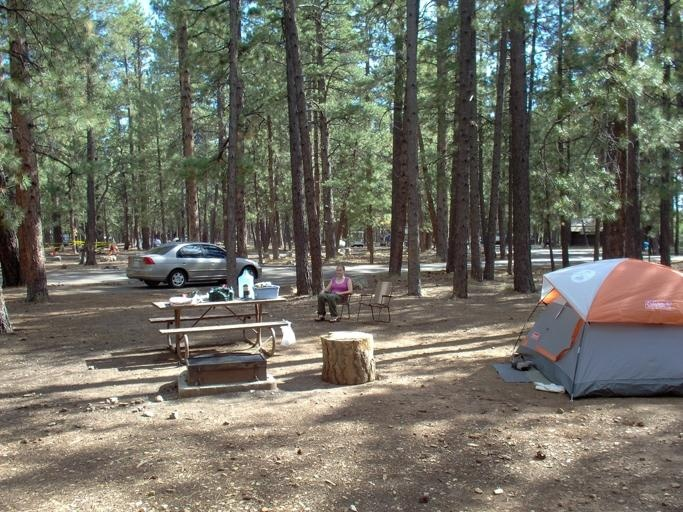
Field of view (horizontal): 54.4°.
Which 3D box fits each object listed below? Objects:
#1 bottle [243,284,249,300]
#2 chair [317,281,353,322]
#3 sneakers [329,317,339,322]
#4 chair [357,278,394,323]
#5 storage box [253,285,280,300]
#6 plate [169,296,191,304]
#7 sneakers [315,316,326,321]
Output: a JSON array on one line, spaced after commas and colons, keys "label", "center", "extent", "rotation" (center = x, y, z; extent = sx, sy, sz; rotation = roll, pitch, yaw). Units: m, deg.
[{"label": "bottle", "center": [-1.969, 0.710, 13.791], "extent": [0.131, 0.266, 0.149], "rotation": [-4, 12, -17]}, {"label": "chair", "center": [-0.144, 1.181, 17.105], "extent": [0.690, 1.184, 0.588], "rotation": [25, -26, -35]}, {"label": "sneakers", "center": [-0.160, 1.589, 16.813], "extent": [0.085, 0.115, 0.262], "rotation": [-4, -9, 27]}, {"label": "chair", "center": [0.989, 1.156, 17.718], "extent": [0.893, 1.426, 0.999], "rotation": [0, 1, 43]}, {"label": "storage box", "center": [-1.577, 0.740, 13.824], "extent": [0.386, 0.200, 0.291], "rotation": [0, -4, -13]}, {"label": "plate", "center": [-3.240, 0.887, 13.346], "extent": [0.433, 0.055, 0.593], "rotation": [-3, 12, -11]}, {"label": "sneakers", "center": [-0.524, 1.566, 16.819], "extent": [0.221, 0.106, 0.093], "rotation": [3, -1, -9]}]
